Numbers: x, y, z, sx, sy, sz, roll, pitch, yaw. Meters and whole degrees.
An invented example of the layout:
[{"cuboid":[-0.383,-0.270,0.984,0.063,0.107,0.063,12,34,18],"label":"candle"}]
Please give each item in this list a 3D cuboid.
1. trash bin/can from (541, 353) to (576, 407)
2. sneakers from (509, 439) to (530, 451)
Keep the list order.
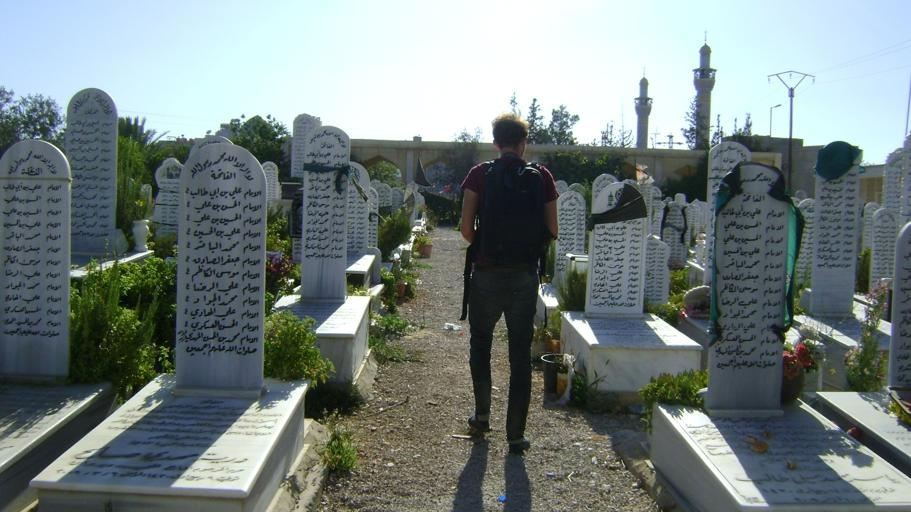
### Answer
[{"cuboid":[1.254,1.492,8.217,0.461,0.502,0.457,2,-2,-29],"label":"trash bin/can"},{"cuboid":[0.650,1.930,6.894,0.193,0.110,0.141,-10,-36,3],"label":"sneakers"}]
